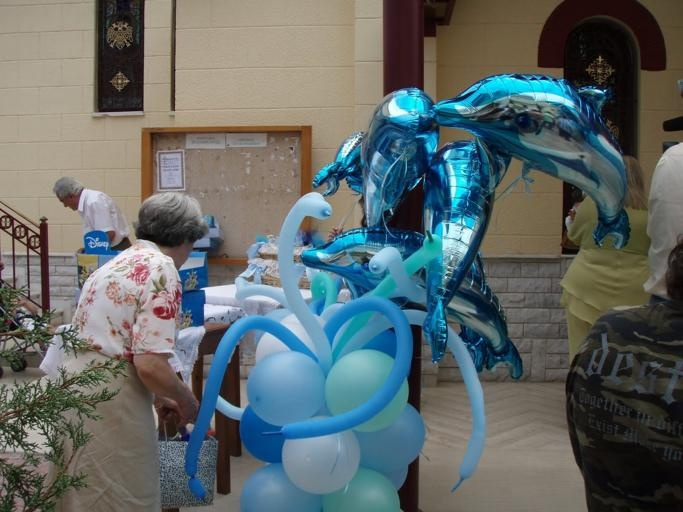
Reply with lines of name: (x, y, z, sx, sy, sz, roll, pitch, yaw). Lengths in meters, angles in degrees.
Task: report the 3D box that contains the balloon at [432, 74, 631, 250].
balloon: (1.152, -0.570, 4.952, 1.251, 0.923, 0.441, 10, 26, -4)
